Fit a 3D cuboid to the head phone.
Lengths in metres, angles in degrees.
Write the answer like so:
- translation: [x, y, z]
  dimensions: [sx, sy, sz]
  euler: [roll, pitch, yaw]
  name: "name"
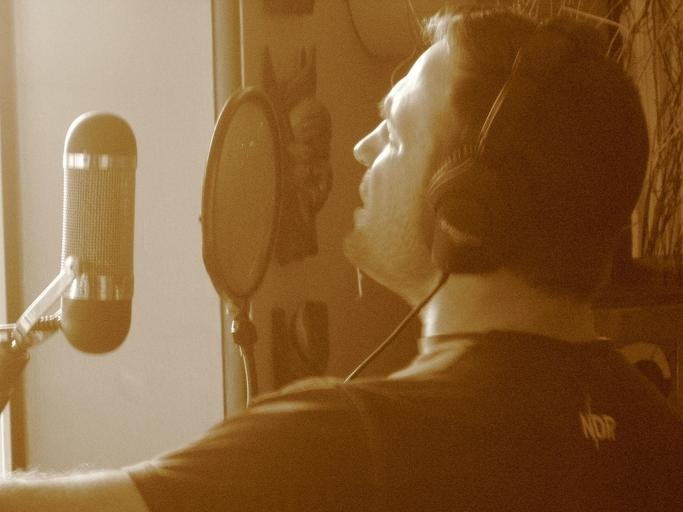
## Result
- translation: [0.248, -0.103, 1.157]
  dimensions: [0.253, 0.324, 0.223]
  euler: [-11, -6, 12]
  name: "head phone"
